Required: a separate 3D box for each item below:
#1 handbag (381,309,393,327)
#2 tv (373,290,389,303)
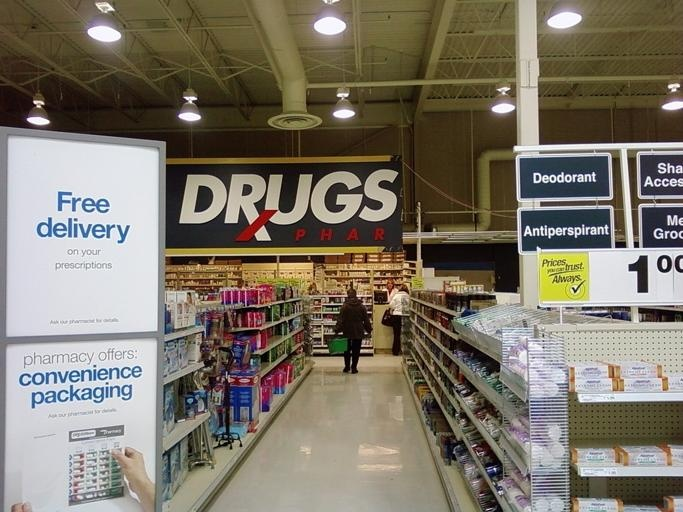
[{"bbox_3d":[1.076,1.476,13.402,0.232,0.549,0.402,7,-13,-4],"label":"handbag"},{"bbox_3d":[0.958,1.013,13.854,0.331,0.309,0.274,-1,-8,1],"label":"tv"}]
